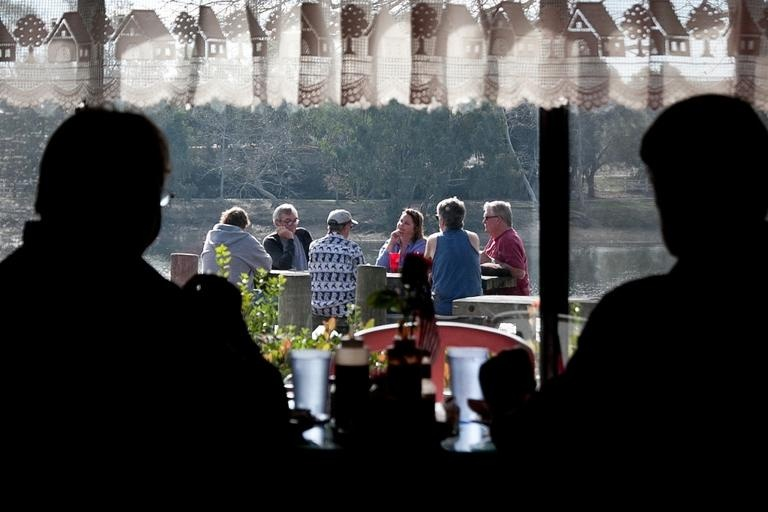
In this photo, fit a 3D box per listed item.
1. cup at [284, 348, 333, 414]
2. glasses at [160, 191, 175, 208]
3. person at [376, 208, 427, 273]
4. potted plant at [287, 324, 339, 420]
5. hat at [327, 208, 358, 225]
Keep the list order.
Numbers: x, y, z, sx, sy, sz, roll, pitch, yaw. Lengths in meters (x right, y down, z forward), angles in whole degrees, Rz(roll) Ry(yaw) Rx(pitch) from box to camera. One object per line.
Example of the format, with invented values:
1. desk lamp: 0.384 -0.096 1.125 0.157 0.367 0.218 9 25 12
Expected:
1. cup: -0.244 0.416 4.472 0.183 0.276 0.206 -1 3 0
2. glasses: -0.745 -0.190 4.421 0.045 0.047 0.031 -1 17 11
3. person: 0.092 -0.083 7.174 0.265 0.344 0.705 -2 6 -1
4. potted plant: -0.253 0.431 4.503 0.138 0.218 0.137 1 6 13
5. hat: -0.230 -0.201 6.942 0.093 0.068 0.134 7 7 43
